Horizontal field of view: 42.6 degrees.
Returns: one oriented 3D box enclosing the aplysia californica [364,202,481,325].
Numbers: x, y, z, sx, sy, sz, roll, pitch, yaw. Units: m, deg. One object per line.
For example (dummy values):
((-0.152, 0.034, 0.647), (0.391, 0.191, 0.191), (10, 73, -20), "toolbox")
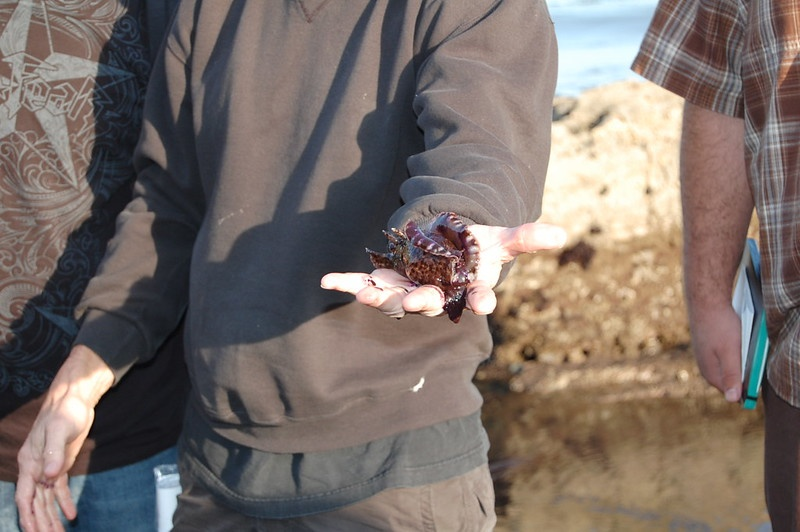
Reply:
((0.089, -0.046, 3.564), (0.370, 0.320, 0.119), (30, 9, 29), "aplysia californica")
